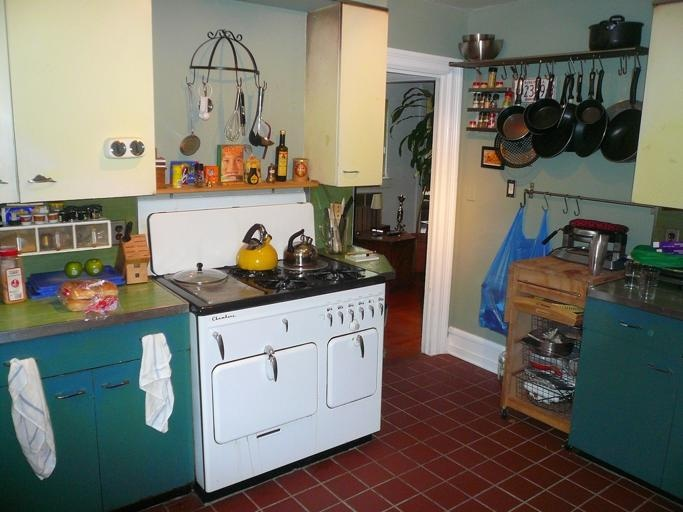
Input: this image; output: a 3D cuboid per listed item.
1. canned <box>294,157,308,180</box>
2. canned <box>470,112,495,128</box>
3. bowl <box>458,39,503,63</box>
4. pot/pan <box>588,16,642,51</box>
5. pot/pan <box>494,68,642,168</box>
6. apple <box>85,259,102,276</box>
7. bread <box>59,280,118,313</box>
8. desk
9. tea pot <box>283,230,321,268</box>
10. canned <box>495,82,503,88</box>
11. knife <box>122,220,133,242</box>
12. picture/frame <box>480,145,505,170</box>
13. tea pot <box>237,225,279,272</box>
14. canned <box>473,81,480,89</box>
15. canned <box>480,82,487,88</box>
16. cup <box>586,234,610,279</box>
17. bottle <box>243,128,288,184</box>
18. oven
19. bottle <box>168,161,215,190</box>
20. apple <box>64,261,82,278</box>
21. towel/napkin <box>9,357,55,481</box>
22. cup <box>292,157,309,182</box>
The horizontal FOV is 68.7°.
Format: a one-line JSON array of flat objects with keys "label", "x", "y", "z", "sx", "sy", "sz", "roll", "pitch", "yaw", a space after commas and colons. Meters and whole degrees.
[{"label": "canned", "x": -0.283, "y": -0.611, "z": 3.503, "sx": 0.124, "sy": 0.149, "sz": 0.134, "roll": 7, "pitch": 16, "yaw": 18}, {"label": "canned", "x": 1.168, "y": -1.115, "z": 4.099, "sx": 0.160, "sy": 0.110, "sz": 0.083, "roll": 10, "pitch": 16, "yaw": 43}, {"label": "bowl", "x": 1.098, "y": -1.640, "z": 3.959, "sx": 0.229, "sy": 0.113, "sz": 0.234, "roll": 0, "pitch": 15, "yaw": 0}, {"label": "pot/pan", "x": 1.789, "y": -1.428, "z": 3.246, "sx": 0.291, "sy": 0.175, "sz": 0.249, "roll": -9, "pitch": 15, "yaw": -27}, {"label": "pot/pan", "x": 1.598, "y": -0.981, "z": 3.605, "sx": 0.931, "sy": 0.708, "sz": 0.496, "roll": 4, "pitch": 15, "yaw": 22}, {"label": "apple", "x": -1.428, "y": 0.066, "z": 2.879, "sx": 0.087, "sy": 0.092, "sz": 0.088, "roll": -7, "pitch": 15, "yaw": -33}, {"label": "bread", "x": -1.320, "y": 0.201, "z": 2.634, "sx": 0.342, "sy": 0.103, "sz": 0.302, "roll": -1, "pitch": 15, "yaw": 1}, {"label": "desk", "x": 0.630, "y": -0.077, "z": 6.369, "sx": 0.895, "sy": 0.874, "sz": 0.657, "roll": -10, "pitch": 17, "yaw": -33}, {"label": "tea pot", "x": -0.260, "y": -0.060, "z": 3.406, "sx": 0.242, "sy": 0.268, "sz": 0.242, "roll": 3, "pitch": 15, "yaw": -1}, {"label": "canned", "x": 1.261, "y": -1.368, "z": 3.972, "sx": 0.057, "sy": 0.043, "sz": 0.057, "roll": -5, "pitch": 13, "yaw": -21}, {"label": "knife", "x": -1.276, "y": -0.154, "z": 2.979, "sx": 0.065, "sy": 0.102, "sz": 0.177, "roll": -7, "pitch": 15, "yaw": -20}, {"label": "picture/frame", "x": 1.260, "y": -0.822, "z": 4.132, "sx": 0.013, "sy": 0.193, "sz": 0.186, "roll": -9, "pitch": 18, "yaw": -40}, {"label": "tea pot", "x": -0.508, "y": -0.065, "z": 3.275, "sx": 0.275, "sy": 0.322, "sz": 0.285, "roll": 0, "pitch": 5, "yaw": 0}, {"label": "canned", "x": 1.105, "y": -1.402, "z": 4.102, "sx": 0.060, "sy": 0.045, "sz": 0.061, "roll": -5, "pitch": 14, "yaw": -19}, {"label": "canned", "x": 1.158, "y": -1.389, "z": 4.065, "sx": 0.059, "sy": 0.044, "sz": 0.060, "roll": 16, "pitch": 26, "yaw": 41}, {"label": "cup", "x": 1.682, "y": -0.022, "z": 3.271, "sx": 0.106, "sy": 0.254, "sz": 0.246, "roll": 6, "pitch": 16, "yaw": 28}, {"label": "bottle", "x": -0.499, "y": -0.677, "z": 3.402, "sx": 0.410, "sy": 0.344, "sz": 0.168, "roll": -14, "pitch": 18, "yaw": -39}, {"label": "oven", "x": -0.375, "y": 0.721, "z": 3.255, "sx": 1.342, "sy": 1.208, "sz": 0.652, "roll": -7, "pitch": 10, "yaw": -40}, {"label": "bottle", "x": -0.915, "y": -0.516, "z": 3.134, "sx": 0.314, "sy": 0.159, "sz": 0.219, "roll": -9, "pitch": 16, "yaw": -27}, {"label": "apple", "x": -1.514, "y": 0.075, "z": 2.826, "sx": 0.086, "sy": 0.086, "sz": 0.085, "roll": -13, "pitch": 18, "yaw": -42}, {"label": "towel/napkin", "x": -1.453, "y": 0.769, "z": 2.343, "sx": 0.133, "sy": 0.608, "sz": 0.103, "roll": -12, "pitch": 17, "yaw": -36}, {"label": "cup", "x": -0.279, "y": -0.601, "z": 3.506, "sx": 0.128, "sy": 0.154, "sz": 0.141, "roll": 2, "pitch": 15, "yaw": 0}]
